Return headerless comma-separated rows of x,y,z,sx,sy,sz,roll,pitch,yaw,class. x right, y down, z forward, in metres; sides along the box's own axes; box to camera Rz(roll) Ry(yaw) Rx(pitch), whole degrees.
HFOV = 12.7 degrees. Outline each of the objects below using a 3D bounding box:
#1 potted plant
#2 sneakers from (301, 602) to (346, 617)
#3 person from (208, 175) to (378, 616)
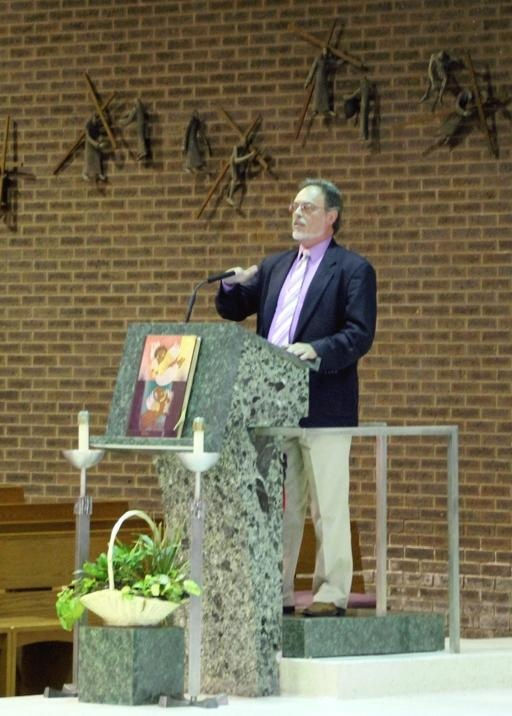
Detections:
-0.424,0.733,7.805,0.454,0.423,0.336,-4,-3,45,potted plant
0.239,0.901,8.194,0.151,0.046,0.096,0,-7,-2,sneakers
0.191,0.116,8.438,0.493,1.671,0.719,5,-7,-43,person
